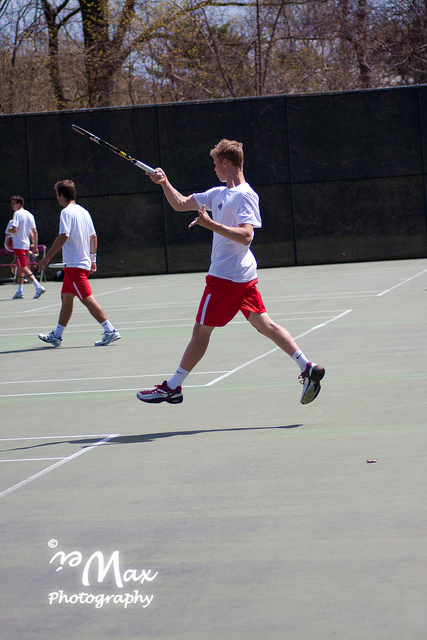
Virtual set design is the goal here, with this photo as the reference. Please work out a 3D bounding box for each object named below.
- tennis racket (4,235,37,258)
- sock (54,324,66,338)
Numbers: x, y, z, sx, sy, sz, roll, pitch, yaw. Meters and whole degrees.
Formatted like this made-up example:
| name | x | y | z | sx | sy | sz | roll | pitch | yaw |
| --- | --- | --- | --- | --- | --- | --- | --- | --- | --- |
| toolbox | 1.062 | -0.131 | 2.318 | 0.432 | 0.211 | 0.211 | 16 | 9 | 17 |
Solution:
| name | x | y | z | sx | sy | sz | roll | pitch | yaw |
| --- | --- | --- | --- | --- | --- | --- | --- | --- | --- |
| tennis racket | -4.336 | -1.699 | 17.109 | 0.476 | 0.679 | 0.534 | 5 | 15 | -6 |
| sock | -1.979 | 0.151 | 9.926 | 0.079 | 0.194 | 0.138 | 14 | -26 | -10 |
